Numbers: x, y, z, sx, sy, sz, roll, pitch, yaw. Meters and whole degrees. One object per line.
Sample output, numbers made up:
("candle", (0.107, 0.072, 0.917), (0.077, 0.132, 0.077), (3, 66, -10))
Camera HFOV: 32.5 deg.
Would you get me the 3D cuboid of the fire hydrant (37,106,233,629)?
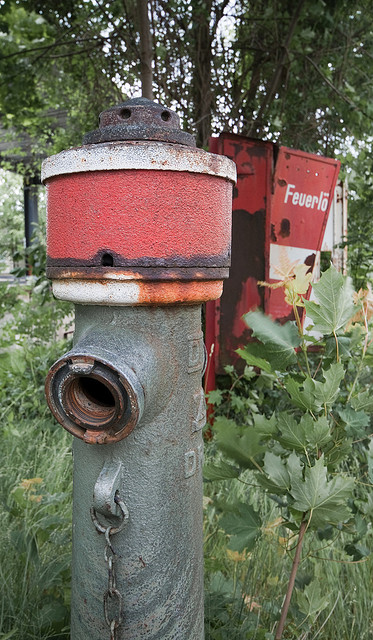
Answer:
("fire hydrant", (-0.103, 0.173, 1.551), (0.455, 1.327, 0.476), (-1, 17, -11))
